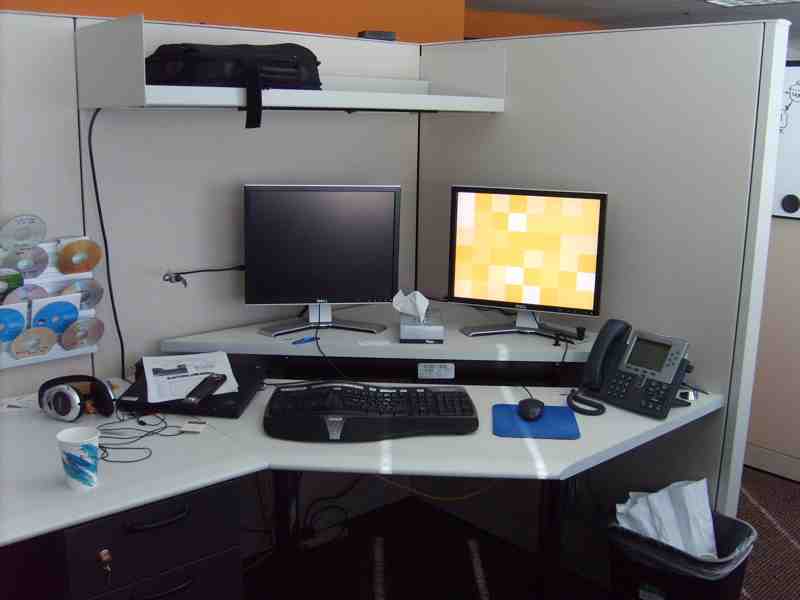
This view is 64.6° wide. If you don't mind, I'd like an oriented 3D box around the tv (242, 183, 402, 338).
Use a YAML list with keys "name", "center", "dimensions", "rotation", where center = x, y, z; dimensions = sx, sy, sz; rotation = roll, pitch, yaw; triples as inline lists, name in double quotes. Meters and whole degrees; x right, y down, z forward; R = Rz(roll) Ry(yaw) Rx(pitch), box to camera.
- name: "tv"
  center: [-0.305, -0.168, 2.436]
  dimensions: [0.585, 0.539, 0.216]
  rotation: [0, 10, -8]

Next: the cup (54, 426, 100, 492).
- name: "cup"
  center: [-0.874, 0.433, 1.721]
  dimensions: [0.126, 0.145, 0.125]
  rotation: [2, 12, 0]

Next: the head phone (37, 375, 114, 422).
- name: "head phone"
  center: [-1.024, 0.303, 2.010]
  dimensions: [0.187, 0.075, 0.159]
  rotation: [25, 21, 14]

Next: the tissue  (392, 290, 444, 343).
- name: "tissue "
  center: [0.076, 0.059, 2.452]
  dimensions: [0.151, 0.137, 0.218]
  rotation: [0, 14, 2]

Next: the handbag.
- name: "handbag"
  center: [-0.517, -0.742, 2.017]
  dimensions: [0.346, 0.106, 0.256]
  rotation: [-5, 17, -24]
